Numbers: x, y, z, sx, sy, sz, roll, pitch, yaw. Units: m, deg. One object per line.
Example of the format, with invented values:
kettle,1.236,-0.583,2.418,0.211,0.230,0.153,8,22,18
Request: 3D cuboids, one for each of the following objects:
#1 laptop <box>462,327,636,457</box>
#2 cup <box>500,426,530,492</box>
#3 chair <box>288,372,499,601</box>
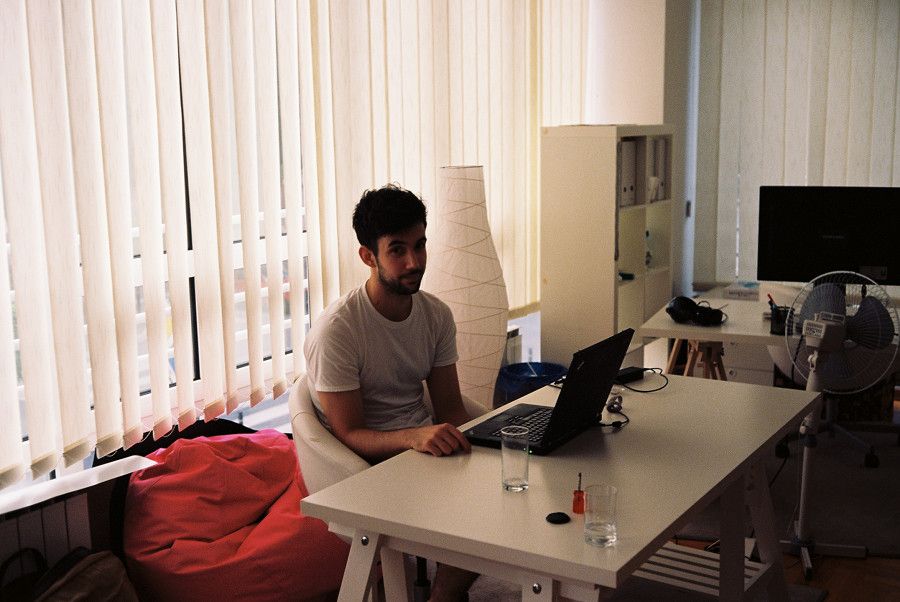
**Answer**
laptop,0.347,0.345,2.449,0.444,0.346,0.530,3,8,26
cup,0.207,0.488,2.130,0.087,0.166,0.157,0,14,5
chair,-0.202,0.656,2.932,0.687,0.836,0.759,0,11,29
